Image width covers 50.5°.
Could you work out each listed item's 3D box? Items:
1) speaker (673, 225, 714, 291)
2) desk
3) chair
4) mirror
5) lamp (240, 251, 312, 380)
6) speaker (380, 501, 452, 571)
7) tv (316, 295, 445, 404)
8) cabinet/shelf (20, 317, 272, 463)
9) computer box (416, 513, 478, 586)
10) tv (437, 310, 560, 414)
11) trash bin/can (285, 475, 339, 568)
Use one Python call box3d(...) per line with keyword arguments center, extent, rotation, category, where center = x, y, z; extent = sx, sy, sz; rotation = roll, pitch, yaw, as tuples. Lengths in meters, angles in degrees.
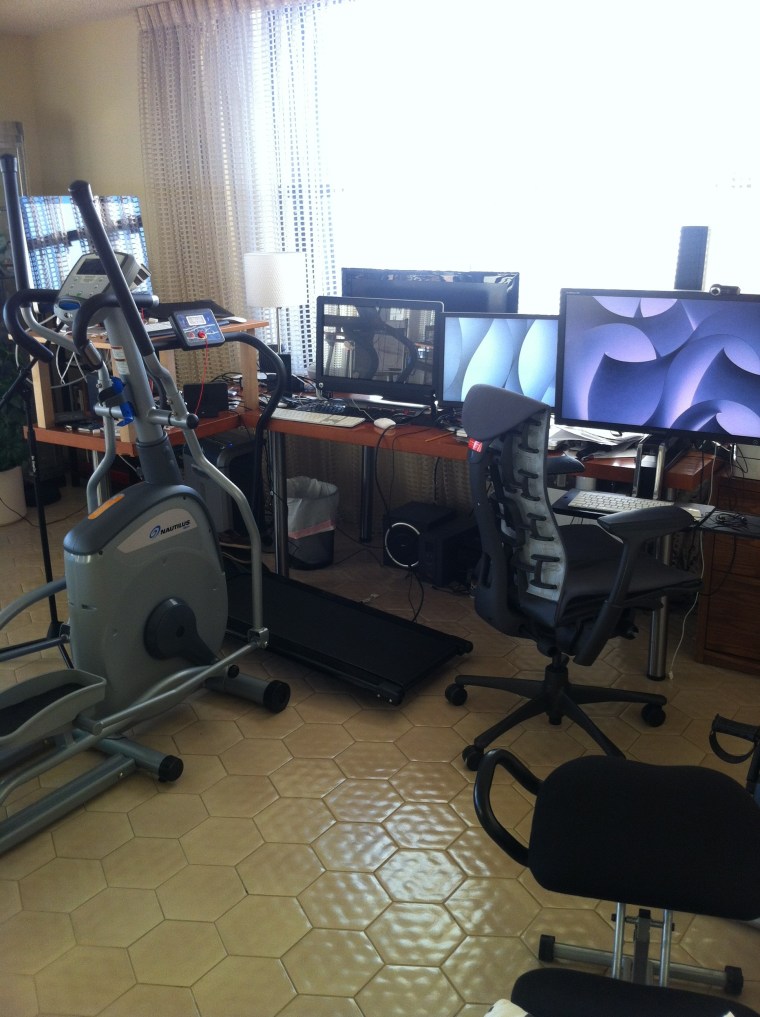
box3d(center=(1.057, -0.848, 2.734), extent=(0.093, 0.205, 0.207), rotation=(6, 22, 20), category="speaker")
box3d(center=(0.432, -0.183, 4.032), extent=(2.318, 0.867, 1.120), rotation=(14, 24, 32), category="desk")
box3d(center=(0.491, 0.114, 2.264), extent=(0.699, 1.014, 0.635), rotation=(-13, 22, -38), category="chair")
box3d(center=(-1.506, -1.373, 4.212), extent=(0.723, 0.486, 0.410), rotation=(-14, 24, -31), category="mirror")
box3d(center=(-0.495, -0.909, 3.865), extent=(0.291, 0.596, 0.317), rotation=(0, 22, -12), category="lamp")
box3d(center=(0.202, 0.110, 3.501), extent=(0.260, 0.270, 0.287), rotation=(-10, 23, -33), category="speaker")
box3d(center=(0.017, -0.649, 3.219), extent=(0.473, 0.330, 0.055), rotation=(9, 25, 21), category="tv")
box3d(center=(-0.892, -0.411, 3.220), extent=(0.734, 0.426, 0.741), rotation=(13, 23, 34), category="cabinet/shelf")
box3d(center=(0.334, 0.144, 3.445), extent=(0.257, 0.360, 0.474), rotation=(3, 10, 23), category="computer box")
box3d(center=(0.432, -0.551, 2.877), extent=(0.501, 0.410, 0.115), rotation=(12, 22, 29), category="tv")
box3d(center=(-0.336, 0.049, 3.698), extent=(0.213, 0.433, 0.199), rotation=(-10, 26, -29), category="trash bin/can")
